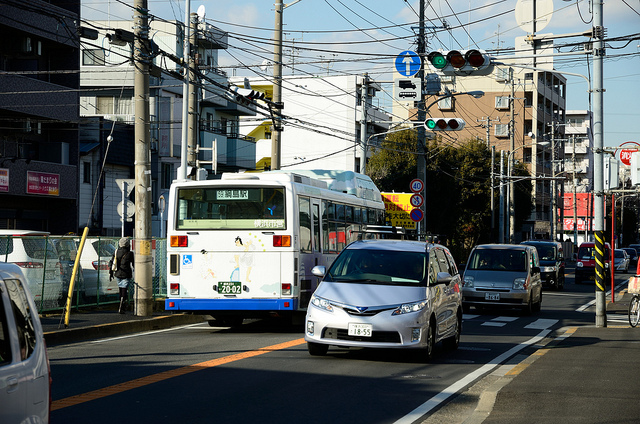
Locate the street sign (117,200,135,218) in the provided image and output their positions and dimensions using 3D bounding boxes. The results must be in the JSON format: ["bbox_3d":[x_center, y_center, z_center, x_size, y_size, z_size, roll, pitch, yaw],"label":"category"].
[{"bbox_3d":[-6.147,-0.104,28.752,0.458,0.582,0.799,1,4,-14],"label":"street sign"}]

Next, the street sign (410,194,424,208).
[{"bbox_3d":[3.976,-0.447,36.814,0.479,0.532,0.678,3,4,8],"label":"street sign"}]

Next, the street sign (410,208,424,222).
[{"bbox_3d":[4.006,0.110,37.079,0.478,0.565,0.762,2,4,4],"label":"street sign"}]

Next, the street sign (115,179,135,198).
[{"bbox_3d":[-6.156,-0.745,28.665,0.514,0.600,1.061,1,4,-15],"label":"street sign"}]

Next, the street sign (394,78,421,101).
[{"bbox_3d":[3.910,-5.384,39.700,1.087,1.025,2.980,3,4,5],"label":"street sign"}]

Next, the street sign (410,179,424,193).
[{"bbox_3d":[4.006,-1.064,37.131,0.488,0.538,1.020,3,4,14],"label":"street sign"}]

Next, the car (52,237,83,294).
[{"bbox_3d":[-7.964,1.598,28.313,1.029,2.527,1.229,1,-1,3],"label":"car"}]

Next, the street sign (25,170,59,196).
[{"bbox_3d":[-13.096,-1.356,42.563,0.198,1.094,2.363,-1,-2,21],"label":"street sign"}]
